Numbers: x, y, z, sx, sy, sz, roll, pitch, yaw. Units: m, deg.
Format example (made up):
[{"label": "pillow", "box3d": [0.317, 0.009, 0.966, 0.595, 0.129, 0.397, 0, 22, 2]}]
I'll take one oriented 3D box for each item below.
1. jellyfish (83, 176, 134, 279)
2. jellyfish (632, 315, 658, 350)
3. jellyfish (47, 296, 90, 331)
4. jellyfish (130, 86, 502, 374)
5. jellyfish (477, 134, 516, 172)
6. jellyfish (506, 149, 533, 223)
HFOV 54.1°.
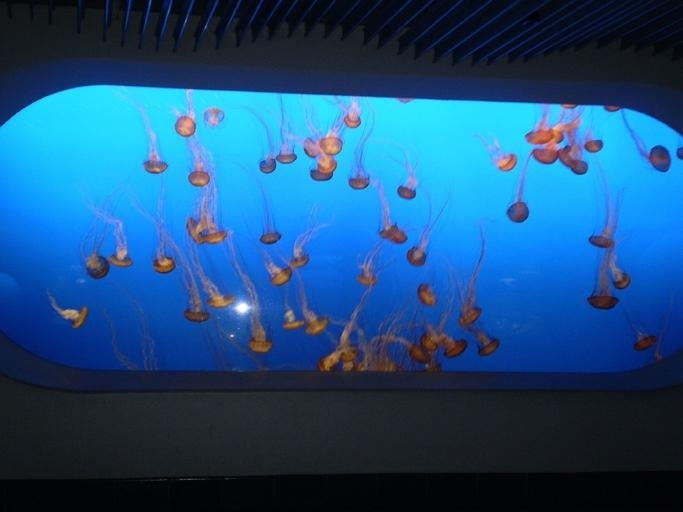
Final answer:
[{"label": "jellyfish", "box3d": [-1.921, -0.074, 4.986, 0.541, 0.285, 0.873, -3, -87, -28]}, {"label": "jellyfish", "box3d": [2.328, 0.610, 5.248, 0.214, 0.218, 0.201, -19, -39, -4]}, {"label": "jellyfish", "box3d": [-2.024, 0.424, 4.814, 0.376, 0.212, 0.142, 2, -62, 19]}, {"label": "jellyfish", "box3d": [-0.261, -0.283, 4.965, 2.637, 0.796, 2.038, 2, -87, -17]}, {"label": "jellyfish", "box3d": [1.210, -0.769, 5.219, 0.176, 0.148, 0.358, -40, -88, 13]}, {"label": "jellyfish", "box3d": [1.378, -0.543, 5.146, 0.163, 0.133, 0.581, 4, -83, 13]}]
